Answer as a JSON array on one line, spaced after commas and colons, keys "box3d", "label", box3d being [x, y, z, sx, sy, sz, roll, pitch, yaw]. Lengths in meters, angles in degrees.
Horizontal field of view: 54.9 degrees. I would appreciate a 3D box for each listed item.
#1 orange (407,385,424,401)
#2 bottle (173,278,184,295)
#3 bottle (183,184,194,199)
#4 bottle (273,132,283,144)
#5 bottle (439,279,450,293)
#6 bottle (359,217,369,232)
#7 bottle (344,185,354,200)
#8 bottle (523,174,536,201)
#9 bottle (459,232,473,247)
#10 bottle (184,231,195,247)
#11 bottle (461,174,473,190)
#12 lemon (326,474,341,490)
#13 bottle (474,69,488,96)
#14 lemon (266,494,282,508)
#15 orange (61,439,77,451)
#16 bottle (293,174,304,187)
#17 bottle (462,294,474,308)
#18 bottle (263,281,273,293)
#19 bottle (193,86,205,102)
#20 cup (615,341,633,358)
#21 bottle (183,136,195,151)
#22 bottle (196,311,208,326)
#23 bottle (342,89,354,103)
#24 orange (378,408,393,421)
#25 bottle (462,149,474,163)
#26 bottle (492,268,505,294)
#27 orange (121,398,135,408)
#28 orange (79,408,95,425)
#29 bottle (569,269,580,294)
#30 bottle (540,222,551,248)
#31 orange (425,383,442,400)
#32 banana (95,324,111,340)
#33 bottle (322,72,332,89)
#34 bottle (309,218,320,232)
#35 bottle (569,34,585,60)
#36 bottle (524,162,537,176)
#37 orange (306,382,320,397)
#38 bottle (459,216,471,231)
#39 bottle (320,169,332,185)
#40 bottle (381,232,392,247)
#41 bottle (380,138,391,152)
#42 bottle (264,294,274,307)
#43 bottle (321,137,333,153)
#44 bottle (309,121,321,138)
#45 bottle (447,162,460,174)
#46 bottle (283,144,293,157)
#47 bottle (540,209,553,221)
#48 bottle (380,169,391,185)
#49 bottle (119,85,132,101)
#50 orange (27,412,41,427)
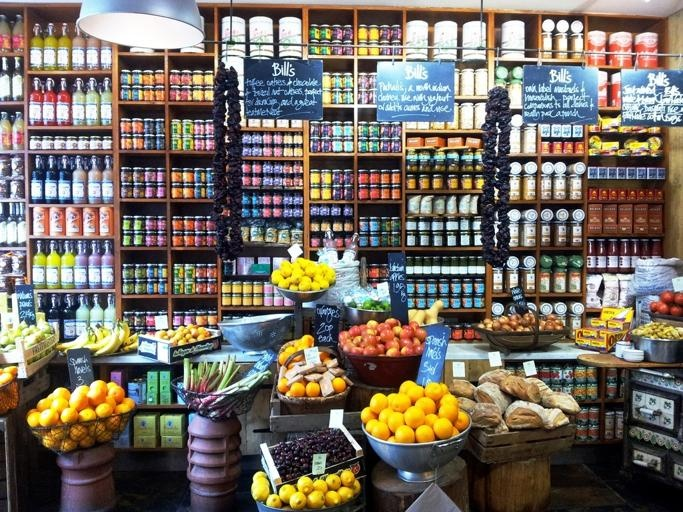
[{"box3d": [0.468, 0.841, 4.081, 0.093, 0.087, 0.101, 8, 51, 22], "label": "orange"}, {"box3d": [-1.532, 0.287, 6.076, 0.145, 0.141, 0.135, 1, -2, -23], "label": "bottle"}, {"box3d": [-1.430, -0.599, 6.064, 0.121, 0.118, 0.114, 1, 1, -23], "label": "bottle"}, {"box3d": [-0.584, -1.089, 6.061, 0.103, 0.100, 0.096, 1, 2, -1], "label": "bottle"}, {"box3d": [0.977, 0.281, 6.294, 0.123, 0.171, 0.117, 1, 4, 0], "label": "bottle"}, {"box3d": [0.215, -0.296, 6.062, 0.125, 0.172, 0.118, 1, 2, 0], "label": "bottle"}, {"box3d": [0.074, -0.594, 6.140, 0.125, 0.172, 0.118, 0, 4, 0], "label": "bottle"}, {"box3d": [1.798, -0.647, 6.240, 0.121, 0.244, 0.062, -3, 4, 14], "label": "bottle"}, {"box3d": [1.177, -0.159, 6.184, 0.135, 0.132, 0.127, 1, 2, 7], "label": "bottle"}, {"box3d": [-1.419, -0.153, 6.119, 0.129, 0.196, 0.127, 1, 1, 0], "label": "bottle"}, {"box3d": [1.186, -0.697, 6.158, 0.139, 0.136, 0.131, 2, 0, -28], "label": "bottle"}, {"box3d": [-0.046, 1.339, 3.950, 0.087, 0.089, 0.079, -8, 10, -13], "label": "lemon"}, {"box3d": [1.319, -1.623, 6.148, 0.127, 0.245, 0.048, -3, 4, 10], "label": "bottle"}, {"box3d": [-0.395, 1.420, 3.869, 0.072, 0.080, 0.075, 28, 36, 34], "label": "lemon"}, {"box3d": [-1.829, 1.260, 4.393, 0.084, 0.053, 0.102, 17, -24, -33], "label": "orange"}, {"box3d": [-0.401, -0.696, 6.049, 0.116, 0.114, 0.108, 2, -1, -23], "label": "bottle"}, {"box3d": [1.198, 0.429, 6.198, 0.119, 0.108, 0.111, 2, 0, -20], "label": "bottle"}, {"box3d": [-0.684, 0.292, 6.126, 0.099, 0.083, 0.095, 0, 1, 19], "label": "bottle"}, {"box3d": [-1.333, -1.494, 6.092, 0.136, 0.133, 0.127, 1, 2, -16], "label": "bottle"}, {"box3d": [2.197, 0.730, 5.115, 0.106, 0.122, 0.135, 5, -5, -41], "label": "cup"}, {"box3d": [-1.428, -1.047, 6.126, 0.125, 0.120, 0.116, 1, 3, -13], "label": "bottle"}, {"box3d": [-1.308, 0.581, 6.134, 0.132, 0.128, 0.123, 1, 2, -4], "label": "bottle"}, {"box3d": [0.089, -1.496, 6.169, 0.135, 0.135, 0.127, 3, 3, 6], "label": "bottle"}, {"box3d": [0.269, 0.961, 3.989, 0.077, 0.082, 0.069, 10, -24, 12], "label": "orange"}, {"box3d": [1.173, -0.921, 6.079, 0.131, 0.111, 0.122, 0, 1, -11], "label": "bottle"}, {"box3d": [1.518, 0.228, 6.265, 0.163, 0.246, 0.056, -8, 5, -40], "label": "bottle"}, {"box3d": [-1.495, 1.042, 4.611, 0.068, 0.061, 0.080, 9, 6, 27], "label": "orange"}, {"box3d": [-1.698, 1.070, 4.398, 0.090, 0.081, 0.080, 3, 37, -8], "label": "orange"}, {"box3d": [2.252, 0.237, 6.296, 0.127, 0.212, 0.055, -3, 5, 15], "label": "bottle"}, {"box3d": [1.989, -0.213, 6.306, 0.160, 0.239, 0.070, -7, 5, -38], "label": "bottle"}, {"box3d": [0.572, 0.830, 4.050, 0.099, 0.090, 0.093, 11, -3, 13], "label": "orange"}, {"box3d": [-1.926, 0.620, 5.273, 0.142, 0.060, 0.161, 1, 37, -17], "label": "banana"}, {"box3d": [-0.135, -1.632, 6.137, 0.102, 0.157, 0.052, -7, 5, -30], "label": "bottle"}, {"box3d": [-0.250, -0.297, 6.166, 0.137, 0.162, 0.093, 1, -2, -4], "label": "bottle"}, {"box3d": [2.216, -1.981, 6.149, 0.128, 0.239, 0.309, -3, 4, 21], "label": "bottle"}, {"box3d": [1.809, -0.832, 6.227, 0.134, 0.123, 0.068, -4, 4, -6], "label": "bottle"}, {"box3d": [-0.185, 0.867, 4.266, 0.092, 0.080, 0.086, 0, 21, -5], "label": "orange"}, {"box3d": [1.171, -0.308, 6.257, 0.130, 0.154, 0.122, 0, 3, 0], "label": "bottle"}, {"box3d": [-0.135, -0.732, 6.118, 0.143, 0.135, 0.133, 0, 1, -17], "label": "bottle"}, {"box3d": [0.427, -0.152, 6.166, 0.115, 0.164, 0.120, 0, 1, 0], "label": "bottle"}, {"box3d": [0.413, -1.029, 6.065, 0.126, 0.121, 0.118, 2, 2, 3], "label": "bottle"}, {"box3d": [-0.681, 0.405, 6.072, 0.116, 0.117, 0.115, 0, -1, 32], "label": "bottle"}, {"box3d": [-0.134, -1.027, 6.047, 0.133, 0.124, 0.124, 2, 5, 3], "label": "bottle"}, {"box3d": [-0.235, -1.181, 6.098, 0.149, 0.136, 0.144, 3, 6, 19], "label": "bottle"}, {"box3d": [1.050, -0.818, 6.104, 0.089, 0.053, 0.083, 1, 2, 0], "label": "bottle"}, {"box3d": [-0.494, -0.974, 6.084, 0.104, 0.099, 0.097, 1, 1, 0], "label": "bottle"}, {"box3d": [1.985, -0.389, 6.260, 0.156, 0.117, 0.071, -5, 4, -23], "label": "bottle"}, {"box3d": [0.421, -0.739, 6.132, 0.127, 0.182, 0.124, 0, 4, 0], "label": "bottle"}, {"box3d": [-1.988, -1.501, 6.053, 0.142, 0.132, 0.132, 2, 1, -6], "label": "bottle"}, {"box3d": [-2.049, 1.081, 4.361, 0.090, 0.082, 0.086, -7, 5, 43], "label": "orange"}]
